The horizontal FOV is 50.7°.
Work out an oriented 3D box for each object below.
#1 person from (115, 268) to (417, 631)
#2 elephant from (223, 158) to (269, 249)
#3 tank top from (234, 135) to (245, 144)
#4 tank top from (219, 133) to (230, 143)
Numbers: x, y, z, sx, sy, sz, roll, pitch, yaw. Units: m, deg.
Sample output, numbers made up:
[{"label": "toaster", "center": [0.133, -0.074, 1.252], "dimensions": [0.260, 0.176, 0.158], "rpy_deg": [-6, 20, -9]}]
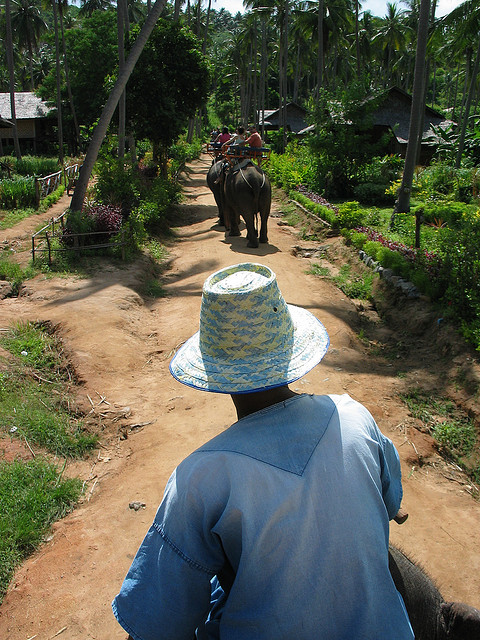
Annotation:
[{"label": "person", "center": [0.125, 0.515, 1.526], "dimensions": [0.783, 1.199, 0.701], "rpy_deg": [7, 16, 19]}, {"label": "elephant", "center": [0.152, -3.245, 13.908], "dimensions": [1.197, 2.289, 2.459], "rpy_deg": [1, 15, -2]}, {"label": "tank top", "center": [-0.073, -5.126, 14.456], "dimensions": [0.236, 0.242, 0.430], "rpy_deg": [-11, 20, -39]}, {"label": "tank top", "center": [-0.564, -6.563, 18.381], "dimensions": [0.369, 0.306, 0.668], "rpy_deg": [-5, 17, -22]}]
